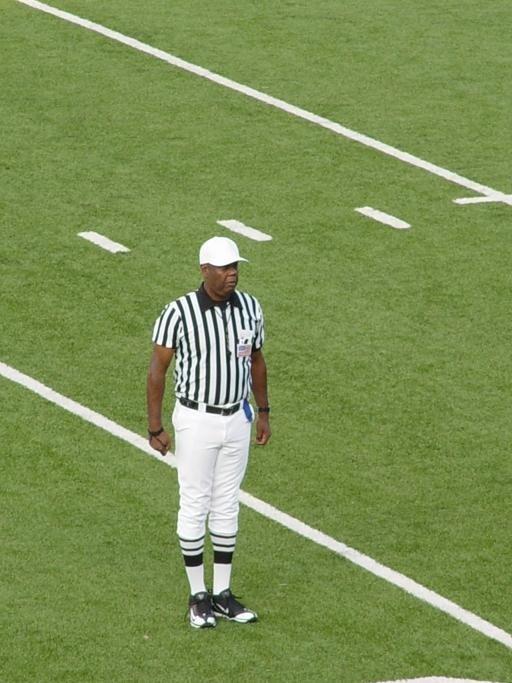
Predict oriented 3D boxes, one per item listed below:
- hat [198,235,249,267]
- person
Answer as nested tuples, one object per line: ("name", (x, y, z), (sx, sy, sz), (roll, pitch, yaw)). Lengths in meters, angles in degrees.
("hat", (-0.240, -0.532, 9.372), (0.163, 0.159, 0.243), (-7, 2, -37))
("person", (-0.297, 0.571, 9.534), (0.789, 2.219, 0.940), (4, 27, -4))
